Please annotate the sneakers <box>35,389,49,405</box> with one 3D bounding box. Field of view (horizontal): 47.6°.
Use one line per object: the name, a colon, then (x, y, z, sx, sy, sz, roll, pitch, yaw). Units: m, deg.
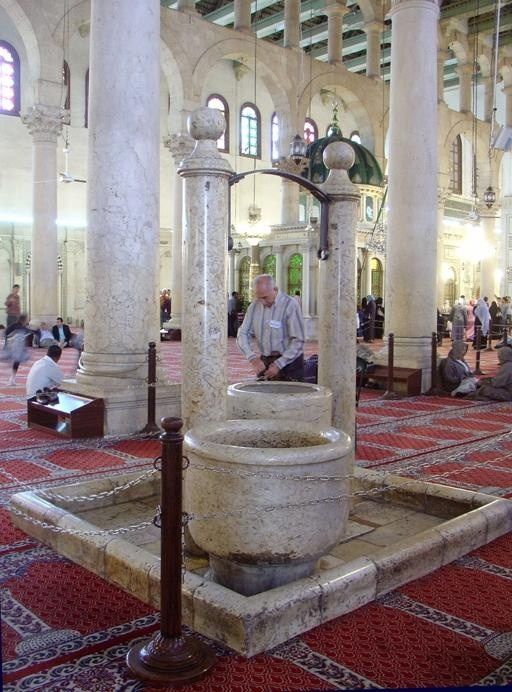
sneakers: (-2.080, 0.497, 5.663, 0.109, 0.091, 0.184, 1, -6, -16)
